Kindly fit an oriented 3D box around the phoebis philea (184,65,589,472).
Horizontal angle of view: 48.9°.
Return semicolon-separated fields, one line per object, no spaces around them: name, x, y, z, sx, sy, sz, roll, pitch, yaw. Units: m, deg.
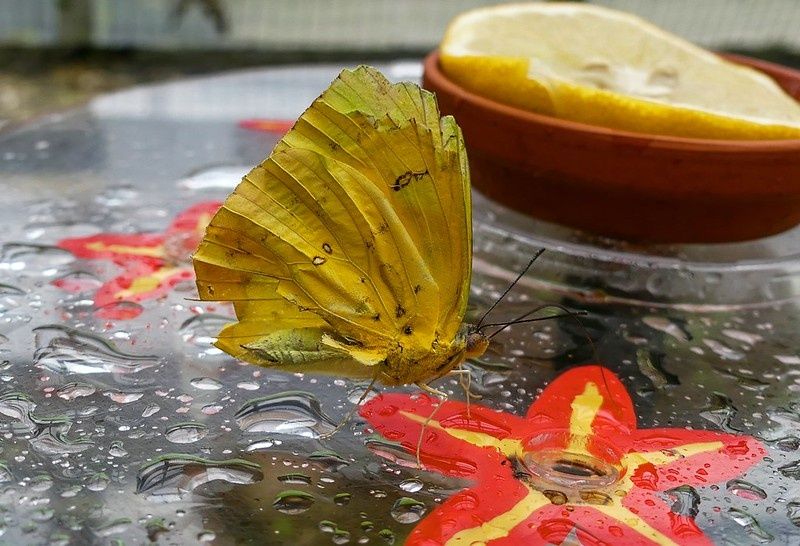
phoebis philea;-0.080;-0.059;1.129;0.368;0.339;0.330;-1;46;-11
